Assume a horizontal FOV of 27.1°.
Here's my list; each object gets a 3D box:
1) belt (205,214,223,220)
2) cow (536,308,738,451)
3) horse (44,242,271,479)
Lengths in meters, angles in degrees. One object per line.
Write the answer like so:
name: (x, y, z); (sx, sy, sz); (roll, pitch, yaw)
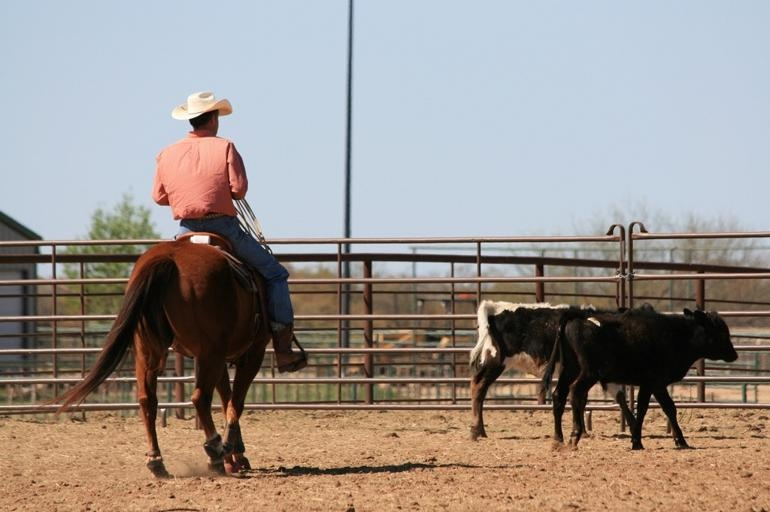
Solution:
belt: (-2.331, -0.546, 21.635); (0.213, 0.070, 0.044); (0, -2, -7)
cow: (3.496, 1.709, 22.652); (2.516, 1.965, 0.532); (1, -2, -13)
horse: (-2.662, 1.318, 21.418); (2.405, 3.238, 0.900); (1, -2, -15)
